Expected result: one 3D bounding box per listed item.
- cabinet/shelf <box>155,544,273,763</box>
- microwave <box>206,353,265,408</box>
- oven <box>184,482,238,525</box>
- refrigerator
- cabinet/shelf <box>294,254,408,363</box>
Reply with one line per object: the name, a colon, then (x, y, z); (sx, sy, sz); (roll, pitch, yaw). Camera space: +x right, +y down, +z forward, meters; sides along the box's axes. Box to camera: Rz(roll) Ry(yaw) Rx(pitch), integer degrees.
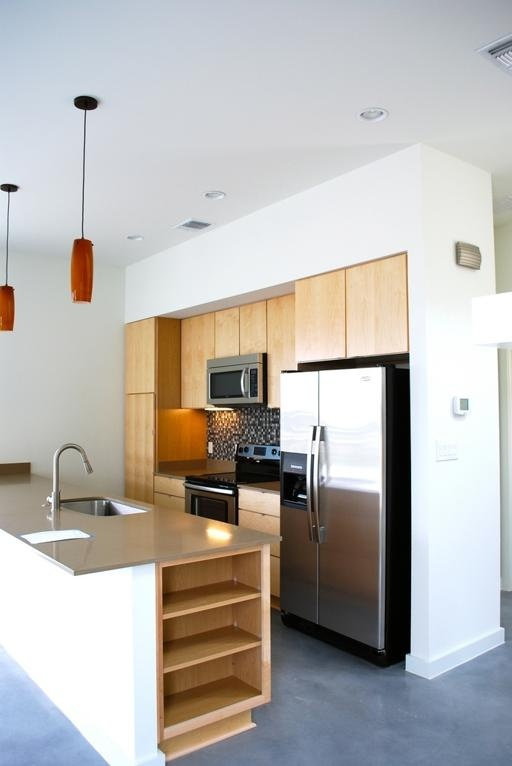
cabinet/shelf: (-0.205, 0.938, 2.236); (0.294, 0.611, 0.536); (-3, -6, 42)
microwave: (-0.171, -0.016, 4.613); (0.187, 0.385, 0.758); (4, -6, -34)
oven: (-0.339, 0.898, 4.505); (0.299, 0.483, 0.442); (4, -5, -36)
refrigerator: (0.475, 0.694, 3.306); (0.381, 1.545, 0.828); (4, -6, -35)
cabinet/shelf: (0.548, -0.422, 3.329); (0.176, 0.401, 0.606); (3, -4, -32)
